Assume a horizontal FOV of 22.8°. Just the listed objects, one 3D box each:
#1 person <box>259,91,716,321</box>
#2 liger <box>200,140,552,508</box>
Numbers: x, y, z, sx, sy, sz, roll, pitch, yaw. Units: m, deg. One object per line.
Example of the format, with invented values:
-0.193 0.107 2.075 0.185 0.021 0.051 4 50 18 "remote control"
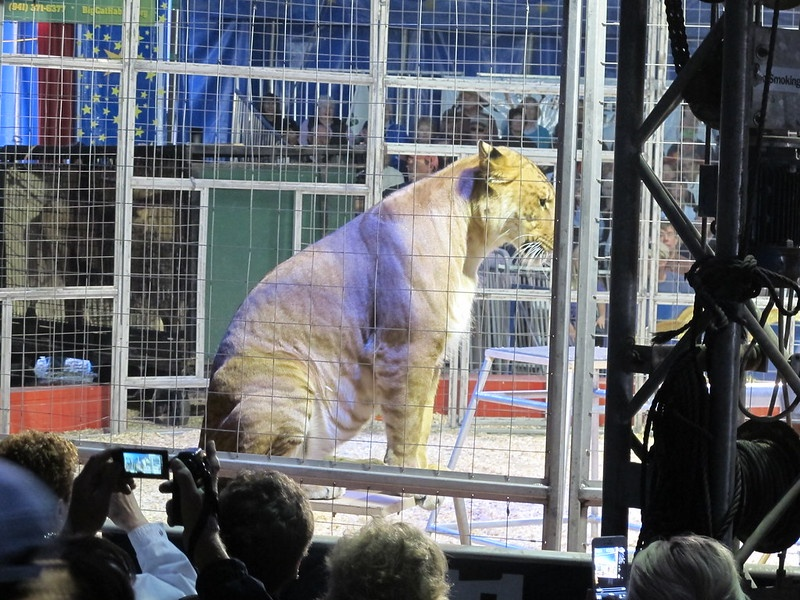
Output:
0.725 -0.682 13.262 2.396 1.626 0.533 -1 -1 0 "person"
-0.187 0.182 13.337 2.486 2.250 1.182 -4 5 8 "liger"
